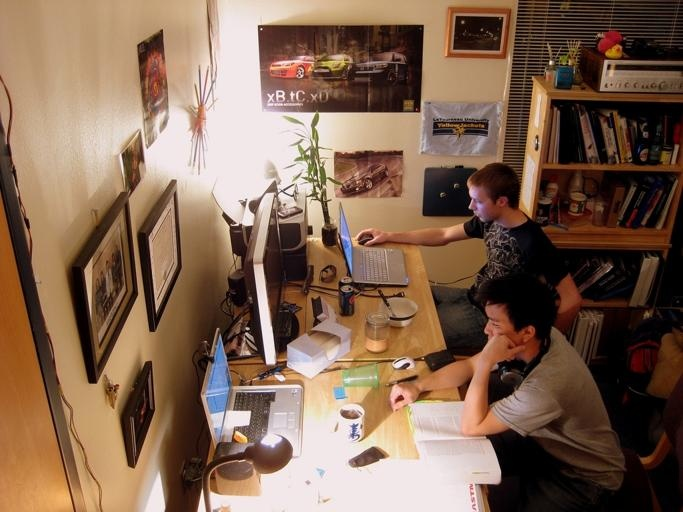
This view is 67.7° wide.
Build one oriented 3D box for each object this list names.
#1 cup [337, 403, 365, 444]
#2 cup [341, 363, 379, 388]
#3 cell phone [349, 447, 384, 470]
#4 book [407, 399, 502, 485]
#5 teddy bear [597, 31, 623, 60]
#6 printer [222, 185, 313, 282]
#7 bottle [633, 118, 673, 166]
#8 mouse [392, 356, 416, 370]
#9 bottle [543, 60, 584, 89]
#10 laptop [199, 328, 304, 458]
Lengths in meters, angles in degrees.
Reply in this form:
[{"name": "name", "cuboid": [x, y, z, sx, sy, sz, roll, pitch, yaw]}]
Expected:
[{"name": "cup", "cuboid": [0.046, 0.734, 2.245, 0.108, 0.118, 0.153, 0, 19, -1]}, {"name": "cup", "cuboid": [0.099, 0.604, 2.539, 0.202, 0.127, 0.122, -1, 3, -4]}, {"name": "cell phone", "cuboid": [0.110, 0.866, 2.183, 0.114, 0.029, 0.066, -15, 34, -28]}, {"name": "book", "cuboid": [0.488, 0.820, 2.205, 0.305, 0.113, 0.459, -1, 38, -1]}, {"name": "teddy bear", "cuboid": [1.727, -1.351, 3.269, 0.163, 0.100, 0.218, -8, 42, 24]}, {"name": "printer", "cuboid": [-0.455, -0.104, 3.335, 0.476, 0.416, 0.646, -2, 32, 0]}, {"name": "bottle", "cuboid": [2.085, -0.770, 3.403, 0.238, 0.302, 0.087, -4, 17, 1]}, {"name": "mouse", "cuboid": [0.321, 0.551, 2.625, 0.084, 0.033, 0.062, -2, 33, -8]}, {"name": "bottle", "cuboid": [1.511, -1.251, 3.480, 0.245, 0.203, 0.248, 4, 1, 8]}, {"name": "laptop", "cuboid": [-0.387, 0.709, 2.368, 0.455, 0.456, 0.610, -2, 34, -3]}]
